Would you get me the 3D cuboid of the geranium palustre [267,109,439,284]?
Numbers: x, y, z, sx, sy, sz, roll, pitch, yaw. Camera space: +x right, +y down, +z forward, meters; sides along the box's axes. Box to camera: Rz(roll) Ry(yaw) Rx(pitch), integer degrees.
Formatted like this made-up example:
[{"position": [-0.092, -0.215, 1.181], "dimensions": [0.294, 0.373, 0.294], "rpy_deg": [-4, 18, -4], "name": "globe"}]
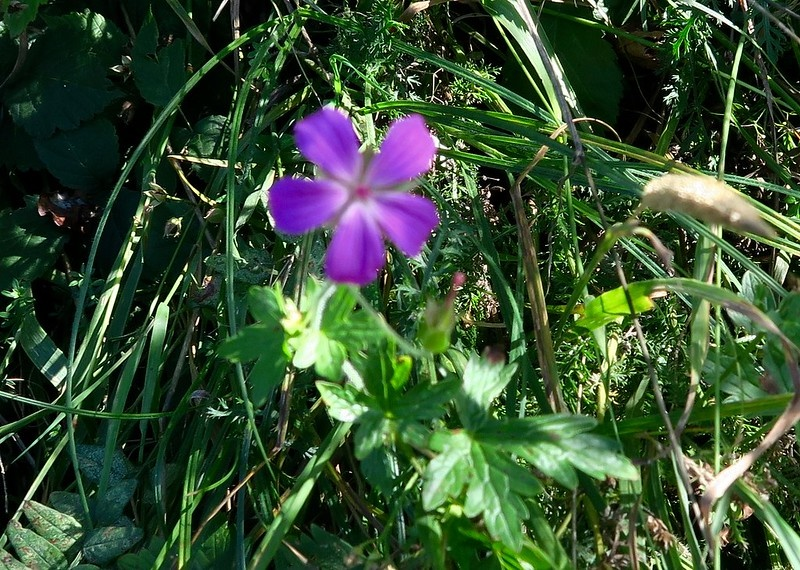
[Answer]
[{"position": [-0.077, -0.173, 1.217], "dimensions": [0.309, 0.280, 0.199], "rpy_deg": [16, 37, 2], "name": "geranium palustre"}]
